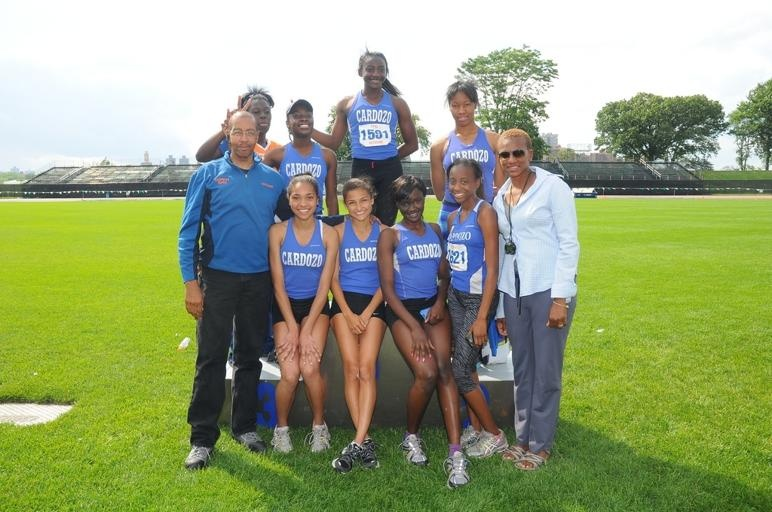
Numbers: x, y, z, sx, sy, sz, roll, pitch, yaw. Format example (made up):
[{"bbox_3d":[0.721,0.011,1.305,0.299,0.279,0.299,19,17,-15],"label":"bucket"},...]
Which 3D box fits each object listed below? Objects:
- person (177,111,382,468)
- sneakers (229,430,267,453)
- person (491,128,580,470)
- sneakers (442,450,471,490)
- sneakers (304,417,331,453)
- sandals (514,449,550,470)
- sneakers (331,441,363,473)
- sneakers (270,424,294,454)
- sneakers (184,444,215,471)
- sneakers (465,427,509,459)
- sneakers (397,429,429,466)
[{"bbox_3d":[-1.704,0.279,6.018,1.137,3.715,0.714,-5,7,-22],"label":"person"},{"bbox_3d":[-1.517,2.051,6.071,0.379,0.173,0.153,25,15,20],"label":"sneakers"},{"bbox_3d":[1.590,0.390,5.897,0.895,3.562,0.795,1,8,28],"label":"person"},{"bbox_3d":[0.737,2.193,5.580,0.172,0.150,0.348,-1,10,2],"label":"sneakers"},{"bbox_3d":[-0.757,2.001,6.081,0.289,0.278,0.289,-3,7,-8],"label":"sneakers"},{"bbox_3d":[1.533,2.138,5.758,0.344,0.080,0.147,3,-3,-37],"label":"sandals"},{"bbox_3d":[-0.402,2.115,5.712,0.203,0.166,0.450,-38,-2,1],"label":"sneakers"},{"bbox_3d":[-1.150,2.020,6.033,0.225,0.257,0.223,-4,7,-16],"label":"sneakers"},{"bbox_3d":[-1.972,2.118,5.760,0.281,0.189,0.193,-5,7,-20],"label":"sneakers"},{"bbox_3d":[1.097,2.050,6.049,0.456,0.217,0.235,-9,5,-9],"label":"sneakers"},{"bbox_3d":[0.299,2.060,5.909,0.277,0.277,0.312,-3,7,-2],"label":"sneakers"}]
